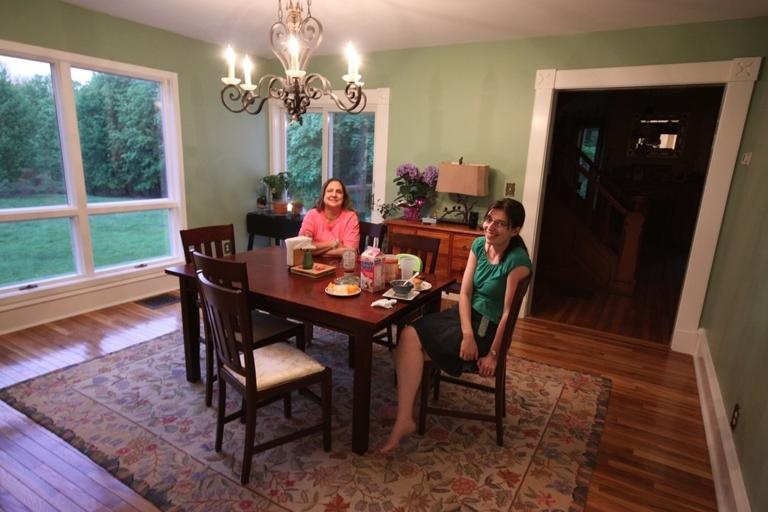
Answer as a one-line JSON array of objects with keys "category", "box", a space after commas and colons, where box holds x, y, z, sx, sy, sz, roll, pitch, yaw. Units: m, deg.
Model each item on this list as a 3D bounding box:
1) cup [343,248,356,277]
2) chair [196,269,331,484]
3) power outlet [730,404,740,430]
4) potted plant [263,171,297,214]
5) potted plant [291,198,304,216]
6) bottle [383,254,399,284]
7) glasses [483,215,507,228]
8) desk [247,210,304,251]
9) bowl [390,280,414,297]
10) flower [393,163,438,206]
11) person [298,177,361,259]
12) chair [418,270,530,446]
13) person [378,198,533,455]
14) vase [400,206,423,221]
[{"category": "cup", "box": [-0.301, 0.052, 4.438, 0.104, 0.202, 0.142, -2, 19, -7]}, {"category": "chair", "box": [-0.920, 0.843, 4.019, 0.868, 1.502, 0.757, -7, 11, -42]}, {"category": "power outlet", "box": [2.669, 1.217, 3.897, 0.038, 0.210, 0.138, 11, 21, 29]}, {"category": "potted plant", "box": [-1.474, -0.896, 7.260, 0.430, 0.638, 0.424, -5, 16, 16]}, {"category": "potted plant", "box": [-1.176, -0.672, 7.016, 0.208, 0.236, 0.218, 1, 5, -4]}, {"category": "bottle", "box": [0.047, 0.120, 4.255, 0.198, 0.215, 0.198, 0, 1, -5]}, {"category": "glasses", "box": [0.849, -0.254, 3.881, 0.174, 0.091, 0.051, 4, 19, 12]}, {"category": "desk", "box": [-1.388, -0.356, 6.532, 0.599, 0.497, 0.226, 6, 12, 24]}, {"category": "bowl", "box": [0.151, 0.254, 4.008, 0.124, 0.060, 0.126, 2, 3, 0]}, {"category": "flower", "box": [0.396, -0.875, 6.321, 0.521, 0.540, 0.468, 2, 3, -3]}, {"category": "person", "box": [-0.527, -0.352, 4.983, 0.629, 0.762, 0.589, -1, 10, -20]}, {"category": "chair", "box": [0.744, 0.772, 4.299, 0.898, 1.311, 0.894, 3, 5, -1]}, {"category": "person", "box": [0.572, 0.513, 4.017, 1.052, 1.876, 0.545, -4, 19, -13]}, {"category": "vase", "box": [0.335, -0.519, 6.348, 0.178, 0.126, 0.180, 4, 7, 22]}]
